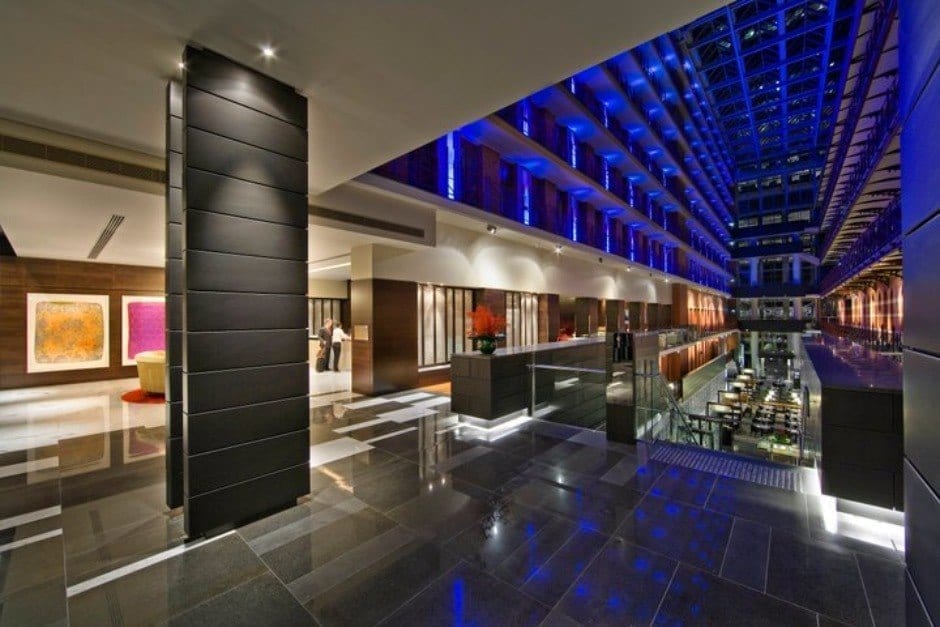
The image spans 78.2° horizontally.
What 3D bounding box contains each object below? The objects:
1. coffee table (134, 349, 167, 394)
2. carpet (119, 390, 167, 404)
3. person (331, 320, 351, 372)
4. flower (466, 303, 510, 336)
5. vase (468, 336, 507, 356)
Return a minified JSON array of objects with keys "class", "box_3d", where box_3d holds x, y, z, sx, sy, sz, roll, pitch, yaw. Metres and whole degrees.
[{"class":"coffee table","box_3d":[-7.007,1.354,12.813,0.796,0.958,0.314,4,10,28]},{"class":"carpet","box_3d":[-7.168,1.860,12.624,0.654,0.132,0.636,0,-1,35]},{"class":"person","box_3d":[-3.828,0.986,17.185,0.519,1.287,1.482,-3,9,-12]},{"class":"flower","box_3d":[0.330,0.025,11.225,0.873,0.891,0.842,-3,-4,4]},{"class":"vase","box_3d":[0.375,0.675,11.976,0.572,0.341,0.550,-2,-1,-5]}]
